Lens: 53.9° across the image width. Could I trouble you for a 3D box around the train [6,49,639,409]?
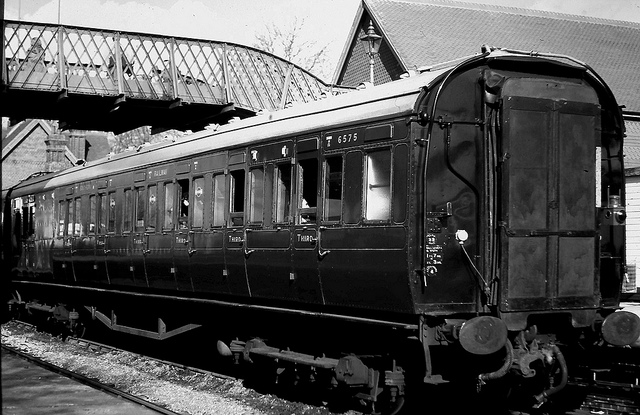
[{"bbox_3d":[-2.527,0.657,17.472,5.740,5.777,20.940,0,-1,-29],"label":"train"}]
